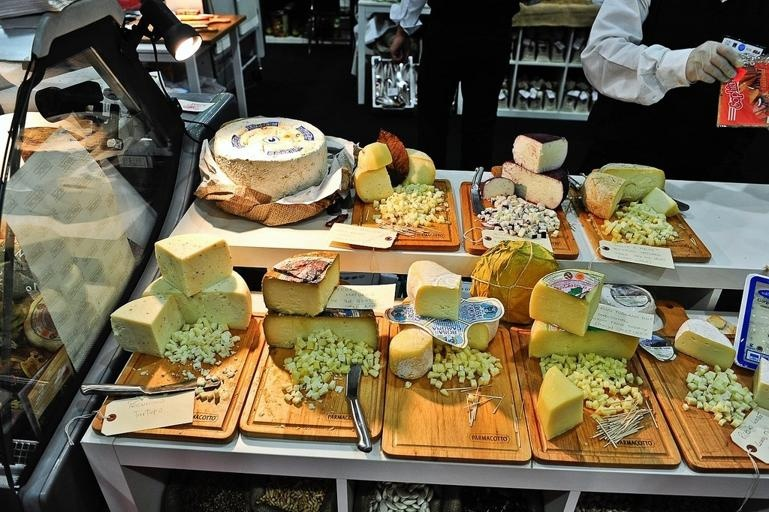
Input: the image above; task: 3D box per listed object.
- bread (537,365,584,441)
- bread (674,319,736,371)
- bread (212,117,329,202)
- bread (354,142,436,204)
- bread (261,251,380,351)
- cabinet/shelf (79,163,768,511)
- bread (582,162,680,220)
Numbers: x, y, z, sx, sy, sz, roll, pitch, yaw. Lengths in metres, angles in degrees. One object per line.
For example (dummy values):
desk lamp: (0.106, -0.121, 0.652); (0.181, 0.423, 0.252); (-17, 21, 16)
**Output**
bread: (0.634, 0.539, 1.722); (0.167, 0.186, 0.185); (16, 37, 21)
bread: (1.356, 0.385, 1.977); (0.192, 0.092, 0.252); (21, 13, 36)
bread: (-0.584, -0.532, 2.516); (0.576, 0.198, 0.572); (-23, 44, -33)
bread: (0.070, -0.434, 2.499); (0.395, 0.176, 0.310); (2, 54, 8)
bread: (-0.321, 0.197, 1.877); (0.405, 0.148, 0.375); (5, 53, -7)
cabinet/shelf: (0.345, 0.449, 2.500); (2.382, 1.043, 1.532); (0, 52, 2)
bread: (1.222, -0.373, 2.445); (0.347, 0.145, 0.342); (-26, 32, -20)
